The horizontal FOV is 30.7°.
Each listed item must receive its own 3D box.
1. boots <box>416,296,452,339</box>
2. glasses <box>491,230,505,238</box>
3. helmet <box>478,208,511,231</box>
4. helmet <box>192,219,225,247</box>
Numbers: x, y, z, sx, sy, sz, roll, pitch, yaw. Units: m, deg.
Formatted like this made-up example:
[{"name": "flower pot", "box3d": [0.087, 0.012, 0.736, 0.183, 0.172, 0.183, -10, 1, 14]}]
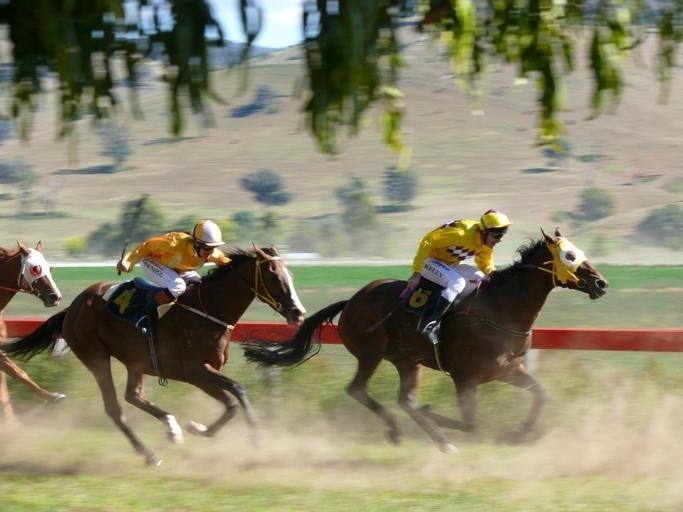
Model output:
[{"name": "boots", "box3d": [0.742, 0.490, 9.961, 0.242, 0.336, 0.136, -16, 23, -38]}, {"name": "glasses", "box3d": [1.250, -0.185, 9.943, 0.076, 0.084, 0.050, -16, 61, -48]}, {"name": "helmet", "box3d": [1.222, -0.310, 9.952, 0.257, 0.114, 0.153, -1, 12, 26]}, {"name": "helmet", "box3d": [-1.067, -0.193, 10.013, 0.292, 0.150, 0.198, 25, 17, 21]}]
